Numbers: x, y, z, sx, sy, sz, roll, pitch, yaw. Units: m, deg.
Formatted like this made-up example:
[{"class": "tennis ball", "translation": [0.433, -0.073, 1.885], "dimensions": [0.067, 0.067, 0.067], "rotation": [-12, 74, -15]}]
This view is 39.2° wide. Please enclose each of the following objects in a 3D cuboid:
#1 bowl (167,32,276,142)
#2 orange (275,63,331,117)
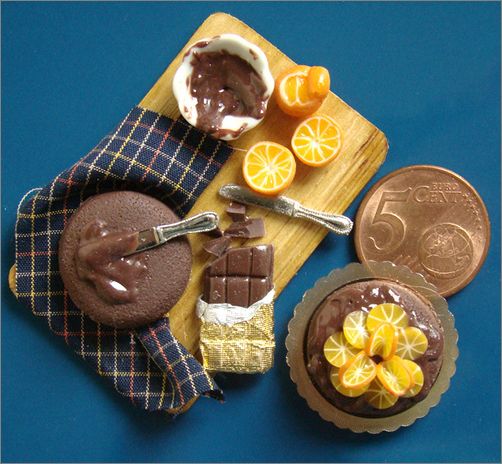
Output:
[{"class": "bowl", "translation": [-0.180, -0.933, 4.477], "dimensions": [0.633, 0.418, 0.447], "rotation": [22, 60, -6]}, {"class": "orange", "translation": [0.325, -0.893, 4.506], "dimensions": [0.278, 0.303, 0.336], "rotation": [-4, 94, -1]}]
